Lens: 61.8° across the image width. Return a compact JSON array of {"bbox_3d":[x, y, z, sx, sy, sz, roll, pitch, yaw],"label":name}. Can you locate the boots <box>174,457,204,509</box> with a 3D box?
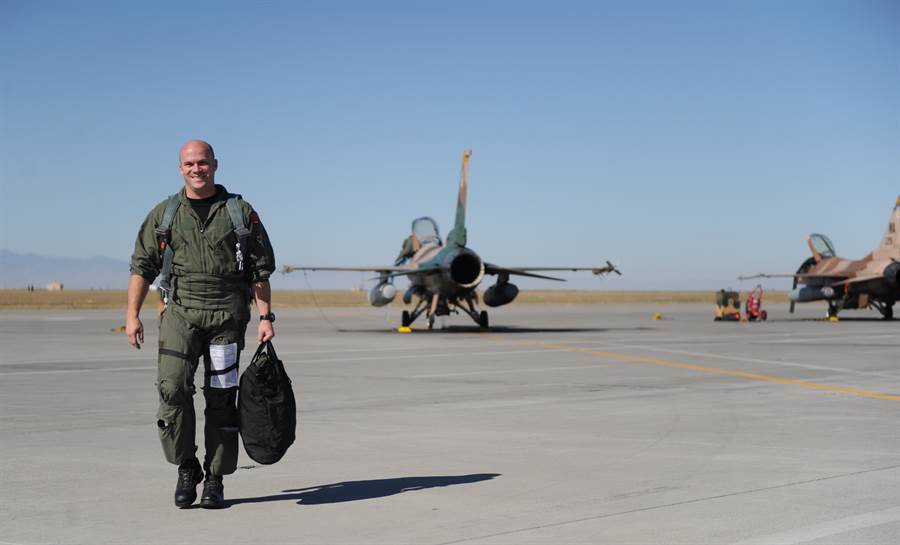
[{"bbox_3d":[-2.639,2.134,7.713,0.221,0.552,0.248,-2,-24,9],"label":"boots"}]

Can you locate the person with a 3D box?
[{"bbox_3d":[-2.564,0.496,7.760,1.437,3.132,0.611,-1,0,-14],"label":"person"}]

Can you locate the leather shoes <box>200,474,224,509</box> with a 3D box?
[{"bbox_3d":[-2.416,2.187,7.599,0.234,0.288,0.199,-1,0,-13],"label":"leather shoes"}]

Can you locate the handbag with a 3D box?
[{"bbox_3d":[-1.925,1.350,7.820,0.574,1.105,0.287,-1,0,-15],"label":"handbag"}]

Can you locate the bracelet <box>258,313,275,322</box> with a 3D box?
[{"bbox_3d":[-1.930,0.463,7.880,0.133,0.064,0.129,-5,-2,25],"label":"bracelet"}]
